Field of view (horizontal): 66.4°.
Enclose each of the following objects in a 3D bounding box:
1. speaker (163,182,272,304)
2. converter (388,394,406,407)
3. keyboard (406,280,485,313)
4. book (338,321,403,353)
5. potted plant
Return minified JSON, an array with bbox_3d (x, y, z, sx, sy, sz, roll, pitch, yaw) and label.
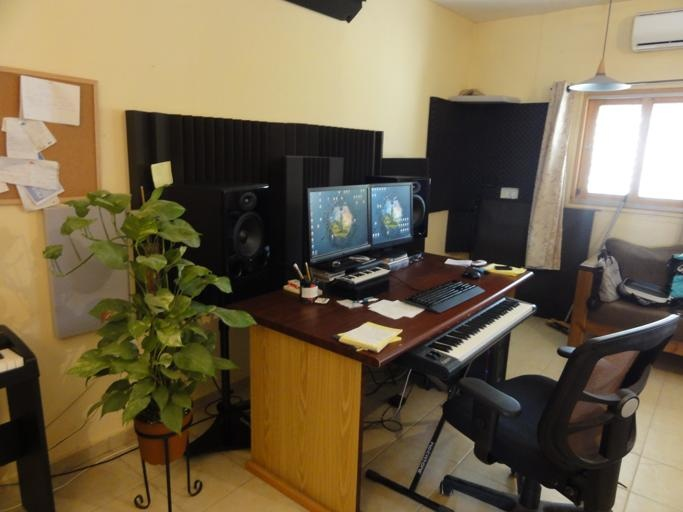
[{"bbox_3d":[-0.606,-0.107,2.969,0.367,0.606,0.386,7,16,24],"label":"speaker"},{"bbox_3d":[0.382,1.000,3.581,0.056,0.024,0.086,17,22,36],"label":"converter"},{"bbox_3d":[0.605,0.234,3.018,0.329,0.059,0.165,-18,27,-41],"label":"keyboard"},{"bbox_3d":[0.136,0.403,2.514,0.299,0.038,0.372,8,12,34],"label":"book"},{"bbox_3d":[-0.966,0.381,2.645,0.826,1.478,0.943,-10,18,-34],"label":"potted plant"}]
